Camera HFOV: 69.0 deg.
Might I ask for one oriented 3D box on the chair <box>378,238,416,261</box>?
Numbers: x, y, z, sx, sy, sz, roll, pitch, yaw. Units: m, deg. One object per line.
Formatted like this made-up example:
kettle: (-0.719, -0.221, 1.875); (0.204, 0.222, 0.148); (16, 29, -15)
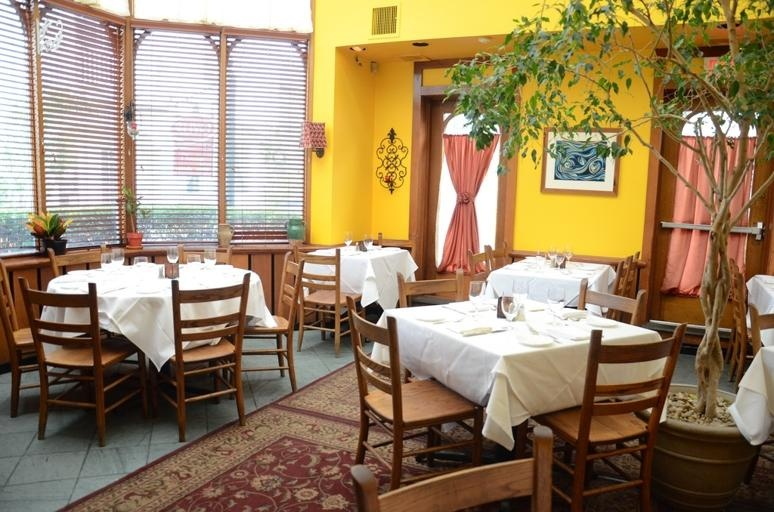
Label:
chair: (0.144, -0.033, 7.668); (0.452, 0.297, 0.247); (0, 2, -1)

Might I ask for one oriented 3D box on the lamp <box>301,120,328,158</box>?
lamp: (-0.942, -1.464, 7.096); (0.332, 0.428, 0.239); (-2, 9, -7)

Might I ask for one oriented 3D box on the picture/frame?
picture/frame: (2.164, -1.053, 6.253); (1.092, 0.978, 0.042); (3, 4, 15)

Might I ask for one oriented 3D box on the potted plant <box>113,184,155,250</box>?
potted plant: (-2.947, -0.469, 6.589); (0.335, 0.739, 0.295); (-5, 10, -26)

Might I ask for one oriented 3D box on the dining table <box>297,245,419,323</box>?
dining table: (-0.154, 0.213, 6.564); (0.938, 0.475, 0.817); (4, 5, 29)

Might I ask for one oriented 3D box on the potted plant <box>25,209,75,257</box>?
potted plant: (-3.423, -0.238, 5.799); (0.446, 0.352, 0.442); (-3, 1, -44)

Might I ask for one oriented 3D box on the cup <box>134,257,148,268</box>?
cup: (-2.187, 0.052, 4.968); (0.088, 0.068, 0.089); (1, 1, 0)

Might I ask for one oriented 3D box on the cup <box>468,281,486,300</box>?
cup: (0.648, 0.233, 4.053); (0.099, 0.134, 0.136); (1, -2, 2)

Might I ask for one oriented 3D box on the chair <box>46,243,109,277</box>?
chair: (-3.081, 0.047, 5.556); (0.301, 0.486, 0.277); (3, 9, 12)

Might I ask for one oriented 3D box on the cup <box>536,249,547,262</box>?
cup: (1.821, -0.013, 6.698); (0.151, 0.154, 0.153); (-1, 12, 0)

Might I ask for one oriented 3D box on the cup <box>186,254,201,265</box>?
cup: (-1.731, 0.016, 5.000); (0.105, 0.081, 0.107); (3, 4, 0)

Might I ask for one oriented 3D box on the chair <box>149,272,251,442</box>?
chair: (-1.510, 0.799, 4.487); (0.812, 1.526, 0.899); (-6, 26, -29)

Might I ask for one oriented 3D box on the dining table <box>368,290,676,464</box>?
dining table: (1.026, 0.540, 3.789); (1.276, 0.470, 1.270); (1, 5, -36)

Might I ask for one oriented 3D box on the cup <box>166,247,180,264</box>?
cup: (-1.879, -0.013, 4.924); (0.086, 0.159, 0.218); (-4, 9, -22)
